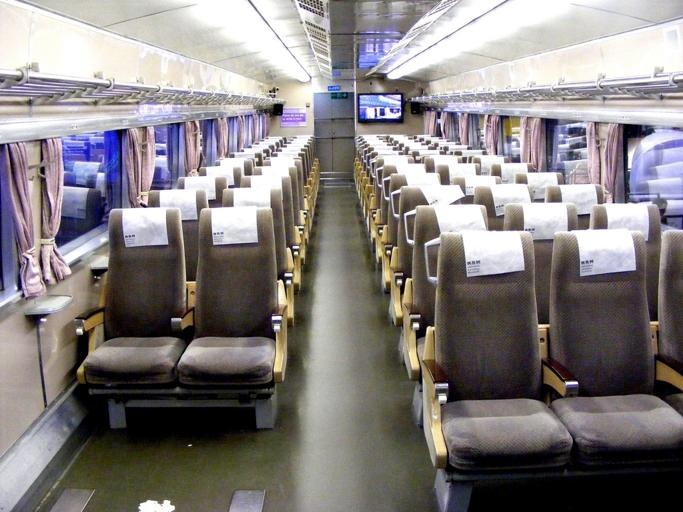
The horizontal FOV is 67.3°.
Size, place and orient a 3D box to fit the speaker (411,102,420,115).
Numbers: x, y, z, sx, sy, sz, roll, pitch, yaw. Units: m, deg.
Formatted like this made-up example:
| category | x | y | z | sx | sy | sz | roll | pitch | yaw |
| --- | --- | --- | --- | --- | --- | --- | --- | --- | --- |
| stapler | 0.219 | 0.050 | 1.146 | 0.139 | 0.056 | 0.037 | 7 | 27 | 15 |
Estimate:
| category | x | y | z | sx | sy | sz | roll | pitch | yaw |
| --- | --- | --- | --- | --- | --- | --- | --- | --- | --- |
| speaker | 3.395 | -6.585 | 22.999 | 0.411 | 0.804 | 0.420 | 2 | 3 | 3 |
